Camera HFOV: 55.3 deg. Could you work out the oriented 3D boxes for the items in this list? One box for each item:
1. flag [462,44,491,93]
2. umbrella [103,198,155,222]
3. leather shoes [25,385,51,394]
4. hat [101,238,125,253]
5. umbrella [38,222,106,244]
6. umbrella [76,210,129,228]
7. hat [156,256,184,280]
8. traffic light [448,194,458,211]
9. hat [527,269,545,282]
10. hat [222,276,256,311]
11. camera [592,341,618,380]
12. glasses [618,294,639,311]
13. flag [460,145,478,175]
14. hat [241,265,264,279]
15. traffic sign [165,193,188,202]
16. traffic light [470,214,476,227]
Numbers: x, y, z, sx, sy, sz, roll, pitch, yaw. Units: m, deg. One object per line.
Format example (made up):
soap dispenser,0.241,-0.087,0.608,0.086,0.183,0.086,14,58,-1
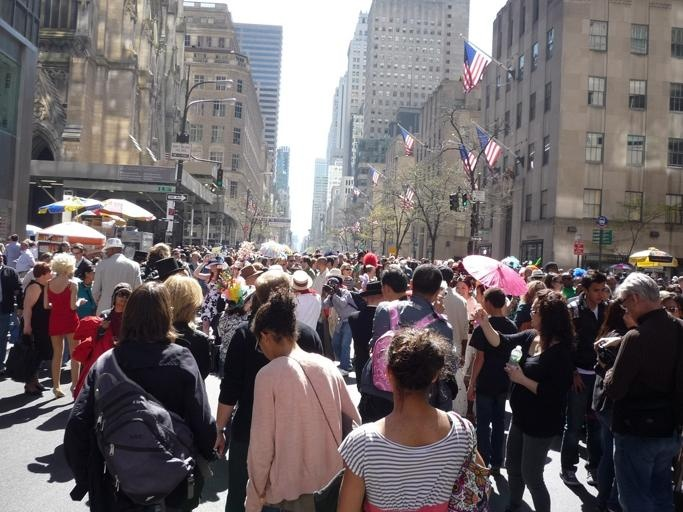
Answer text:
flag,4.975,-7.392,24.933,0.784,0.265,2.371,0,-32,7
umbrella,-7.825,-1.763,23.893,1.114,0.758,2.347,3,-1,4
leather shoes,-5.481,2.366,11.728,0.236,0.111,0.143,-3,2,7
hat,-4.295,-0.217,12.340,0.245,0.200,0.339,1,1,-39
umbrella,-9.106,-0.791,22.324,1.418,0.555,1.487,7,-4,-32
umbrella,-10.245,-1.617,28.135,1.281,0.480,1.331,13,3,-29
hat,-3.041,0.209,11.518,0.304,0.152,0.365,-11,7,27
traffic light,5.343,-2.626,30.848,0.301,0.604,0.930,2,-1,15
hat,4.137,0.393,13.764,0.336,0.135,0.319,-8,6,-40
hat,-1.389,0.500,8.801,0.184,0.364,0.451,43,-13,-25
camera,3.121,1.156,7.786,0.136,0.342,0.375,-1,1,8
glasses,3.251,0.515,7.418,0.139,0.048,0.157,11,35,-18
flag,5.758,-4.366,29.832,0.758,0.996,2.593,2,-2,10
hat,-1.499,0.278,11.002,0.279,0.119,0.265,-26,5,9
traffic sign,-6.129,-2.206,24.591,0.650,0.328,0.188,1,3,0
traffic light,5.919,-1.612,29.195,0.226,0.420,0.754,2,-2,16
